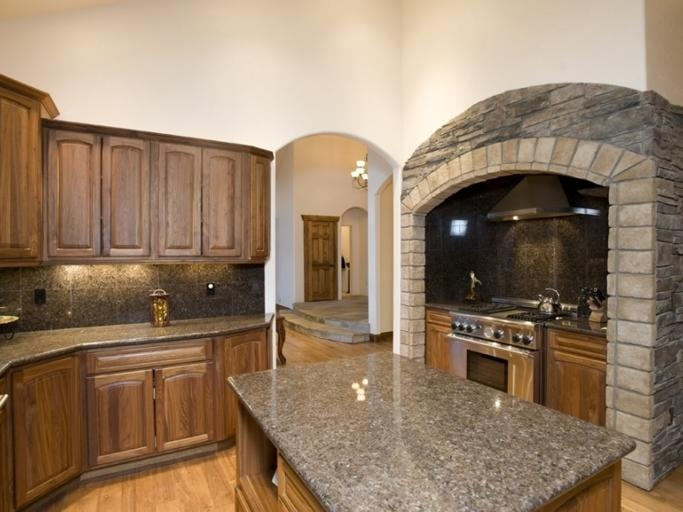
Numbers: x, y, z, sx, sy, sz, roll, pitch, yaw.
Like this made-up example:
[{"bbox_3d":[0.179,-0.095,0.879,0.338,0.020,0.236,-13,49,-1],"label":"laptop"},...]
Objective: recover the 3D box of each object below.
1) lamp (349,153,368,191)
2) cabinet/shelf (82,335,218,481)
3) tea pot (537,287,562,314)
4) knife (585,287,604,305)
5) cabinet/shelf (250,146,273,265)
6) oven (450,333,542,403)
[{"bbox_3d":[0.422,-1.615,9.702,0.400,0.538,0.385,-4,15,-45],"label":"lamp"},{"bbox_3d":[-1.713,1.182,4.428,1.103,0.999,0.518,-1,4,-35],"label":"cabinet/shelf"},{"bbox_3d":[2.158,0.472,5.248,0.213,0.284,0.280,-1,-3,-14],"label":"tea pot"},{"bbox_3d":[2.369,0.371,4.691,0.115,0.066,0.217,-13,44,10],"label":"knife"},{"bbox_3d":[-0.810,-0.464,4.966,0.093,1.044,0.331,0,2,24],"label":"cabinet/shelf"},{"bbox_3d":[1.498,1.253,5.327,0.889,0.817,0.507,12,-23,1],"label":"oven"}]
